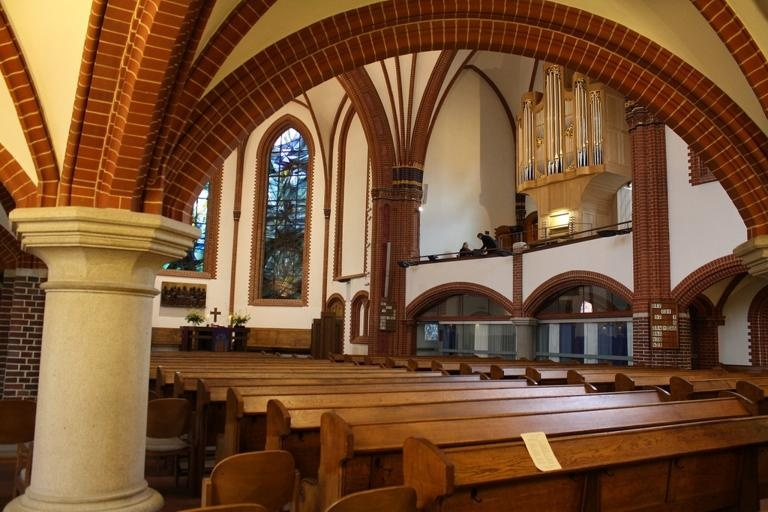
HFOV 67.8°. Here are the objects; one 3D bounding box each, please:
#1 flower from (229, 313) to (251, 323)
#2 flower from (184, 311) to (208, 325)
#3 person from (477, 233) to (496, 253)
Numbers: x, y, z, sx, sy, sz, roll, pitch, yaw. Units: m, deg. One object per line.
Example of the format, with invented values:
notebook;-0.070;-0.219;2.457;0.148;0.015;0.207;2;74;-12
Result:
flower;-5.220;2.204;20.440;0.492;0.327;0.533;-1;-3;14
flower;-6.816;2.206;20.445;0.600;0.560;0.634;0;-1;-18
person;3.366;-0.428;18.823;0.322;0.377;0.917;-16;34;-19
